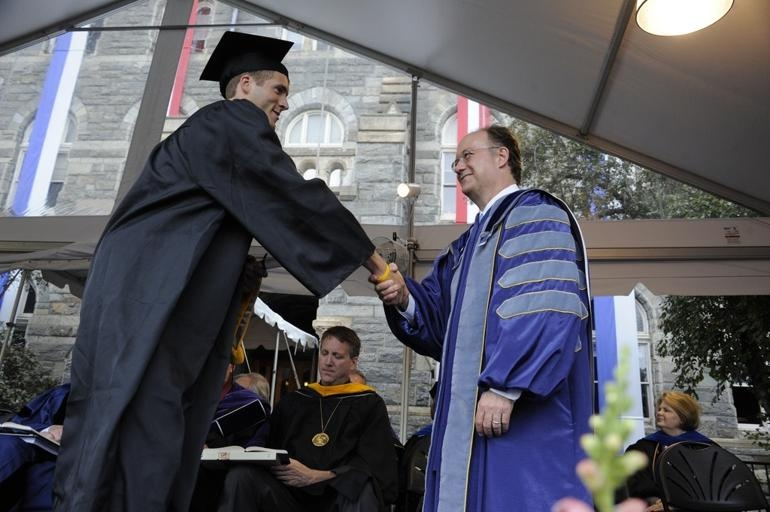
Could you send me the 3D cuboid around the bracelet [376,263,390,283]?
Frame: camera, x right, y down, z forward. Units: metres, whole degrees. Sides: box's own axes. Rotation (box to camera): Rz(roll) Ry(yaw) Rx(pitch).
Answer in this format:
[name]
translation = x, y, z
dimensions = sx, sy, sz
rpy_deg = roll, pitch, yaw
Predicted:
[bracelet]
translation = -0.003, 0.095, 3.441
dimensions = 0.037, 0.102, 0.081
rpy_deg = 32, -46, -18
